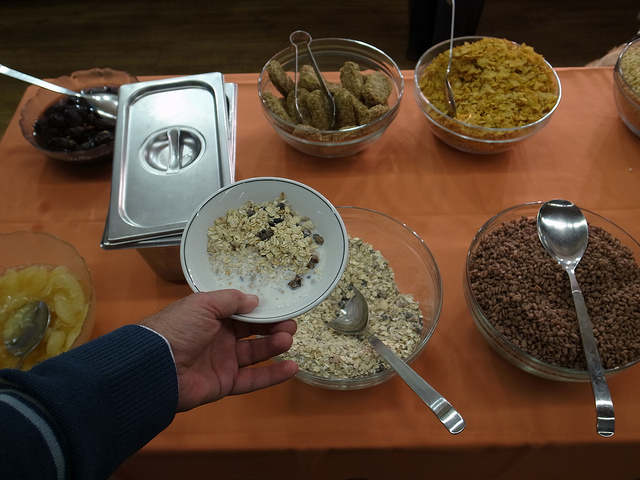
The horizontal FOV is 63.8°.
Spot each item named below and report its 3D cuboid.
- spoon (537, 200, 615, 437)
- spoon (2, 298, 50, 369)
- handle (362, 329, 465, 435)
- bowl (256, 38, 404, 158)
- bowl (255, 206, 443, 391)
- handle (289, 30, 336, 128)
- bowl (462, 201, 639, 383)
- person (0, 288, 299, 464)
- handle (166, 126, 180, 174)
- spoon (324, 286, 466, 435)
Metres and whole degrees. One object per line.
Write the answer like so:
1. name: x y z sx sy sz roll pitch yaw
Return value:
1. spoon: 0.603 0.126 1.192 0.161 0.094 0.823 -2 29 21
2. spoon: -0.775 0.241 1.385 0.065 0.028 0.219 1 58 6
3. handle: 0.205 0.323 1.334 0.053 0.054 0.488 -28 40 -13
4. bowl: 0.072 -0.493 1.730 0.444 0.170 0.468 0 54 0
5. bowl: 0.067 0.176 1.397 0.338 0.124 0.356 -1 66 1
6. handle: -0.021 -0.533 1.691 0.126 0.365 0.062 -12 8 29
7. bowl: 0.612 0.156 1.369 0.382 0.290 0.441 0 40 -4
8. person: -0.406 0.339 1.276 0.724 0.374 0.317 -19 75 -4
9. handle: -0.443 -0.270 1.560 0.043 0.022 0.162 0 56 -8
10. spoon: 0.174 0.305 1.355 0.116 0.086 0.589 -9 31 -27
